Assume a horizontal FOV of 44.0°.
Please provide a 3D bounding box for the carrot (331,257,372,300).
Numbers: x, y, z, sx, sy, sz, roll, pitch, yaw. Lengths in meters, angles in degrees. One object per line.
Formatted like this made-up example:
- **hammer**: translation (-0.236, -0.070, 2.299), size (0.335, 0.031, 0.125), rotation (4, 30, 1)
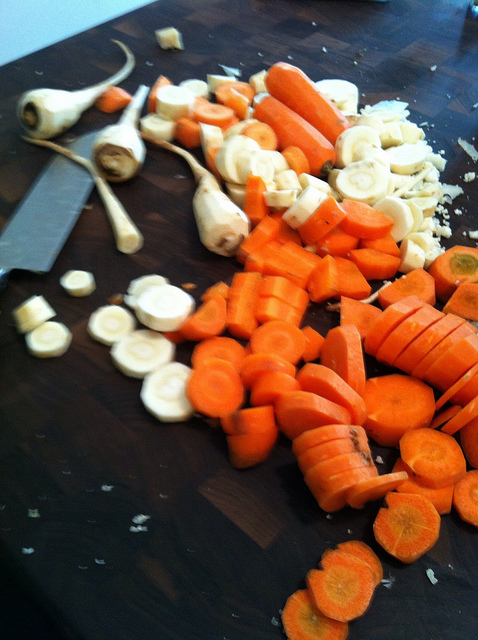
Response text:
- **carrot**: translation (0.306, -0.110, 1.641), size (0.130, 0.030, 0.125), rotation (2, 50, -14)

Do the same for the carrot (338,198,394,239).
- **carrot**: translation (0.356, -0.288, 1.699), size (0.147, 0.031, 0.147), rotation (10, 36, -5)

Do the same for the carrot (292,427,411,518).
- **carrot**: translation (0.220, 0.301, 1.235), size (0.204, 0.124, 0.232), rotation (-13, 16, -16)

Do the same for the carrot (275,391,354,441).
- **carrot**: translation (0.178, 0.216, 1.327), size (0.199, 0.161, 0.040), rotation (18, 66, -15)

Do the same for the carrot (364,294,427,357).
- **carrot**: translation (0.353, 0.002, 1.481), size (0.046, 0.148, 0.147), rotation (42, 34, 12)

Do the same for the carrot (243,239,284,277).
- **carrot**: translation (0.068, -0.171, 1.629), size (0.087, 0.037, 0.148), rotation (30, 54, 21)

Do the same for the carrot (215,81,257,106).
- **carrot**: translation (-0.016, -0.796, 2.063), size (0.128, 0.031, 0.123), rotation (-32, 61, -29)

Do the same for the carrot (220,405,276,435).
- **carrot**: translation (0.010, 0.212, 1.300), size (0.082, 0.078, 0.025), rotation (-3, 83, -37)

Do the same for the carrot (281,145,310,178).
- **carrot**: translation (0.172, -0.478, 1.800), size (0.056, 0.101, 0.101), rotation (-43, 73, -4)

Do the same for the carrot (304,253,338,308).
- **carrot**: translation (0.223, -0.103, 1.594), size (0.036, 0.126, 0.117), rotation (20, 40, -39)

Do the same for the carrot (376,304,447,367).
- **carrot**: translation (0.416, 0.039, 1.422), size (0.155, 0.152, 0.055), rotation (-40, 78, -2)

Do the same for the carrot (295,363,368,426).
- **carrot**: translation (0.259, 0.170, 1.369), size (0.212, 0.183, 0.046), rotation (15, 92, 23)

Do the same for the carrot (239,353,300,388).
- **carrot**: translation (0.067, 0.116, 1.358), size (0.107, 0.091, 0.038), rotation (-8, 51, 28)

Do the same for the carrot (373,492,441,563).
- **carrot**: translation (0.348, 0.416, 1.241), size (0.173, 0.035, 0.132), rotation (7, 49, -14)

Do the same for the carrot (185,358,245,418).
- **carrot**: translation (-0.065, 0.156, 1.380), size (0.135, 0.037, 0.147), rotation (52, 50, -4)

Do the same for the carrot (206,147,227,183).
- **carrot**: translation (-0.083, -0.478, 1.848), size (0.031, 0.108, 0.092), rotation (-11, 96, 14)

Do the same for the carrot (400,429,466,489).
- **carrot**: translation (0.439, 0.287, 1.319), size (0.038, 0.138, 0.122), rotation (-11, 85, -52)

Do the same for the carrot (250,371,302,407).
- **carrot**: translation (0.089, 0.162, 1.338), size (0.095, 0.091, 0.054), rotation (31, 36, -16)

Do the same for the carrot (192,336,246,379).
- **carrot**: translation (-0.049, 0.101, 1.463), size (0.163, 0.038, 0.151), rotation (17, 29, -9)

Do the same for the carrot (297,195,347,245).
- **carrot**: translation (0.224, -0.268, 1.651), size (0.036, 0.124, 0.136), rotation (48, 43, 1)

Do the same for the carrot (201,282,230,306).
- **carrot**: translation (-0.057, -0.076, 1.566), size (0.070, 0.018, 0.063), rotation (6, 55, 44)

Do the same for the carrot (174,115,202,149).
- **carrot**: translation (-0.176, -0.618, 1.952), size (0.073, 0.087, 0.113), rotation (-14, 52, -12)

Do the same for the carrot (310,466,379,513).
- **carrot**: translation (0.212, 0.342, 1.228), size (0.120, 0.104, 0.026), rotation (5, 44, -41)

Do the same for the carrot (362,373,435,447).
- **carrot**: translation (0.381, 0.227, 1.452), size (0.164, 0.097, 0.154), rotation (25, 59, 19)

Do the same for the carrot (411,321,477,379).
- **carrot**: translation (0.486, 0.068, 1.420), size (0.142, 0.146, 0.038), rotation (-39, 78, -4)

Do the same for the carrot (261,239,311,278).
- **carrot**: translation (0.125, -0.165, 1.631), size (0.072, 0.030, 0.142), rotation (30, 55, 22)

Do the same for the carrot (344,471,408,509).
- **carrot**: translation (0.268, 0.346, 1.211), size (0.112, 0.105, 0.024), rotation (-4, 64, -46)

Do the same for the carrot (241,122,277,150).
- **carrot**: translation (0.071, -0.575, 1.848), size (0.107, 0.030, 0.096), rotation (18, 61, -26)

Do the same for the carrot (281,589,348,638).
- **carrot**: translation (0.144, 0.565, 1.133), size (0.125, 0.017, 0.087), rotation (6, 49, 4)

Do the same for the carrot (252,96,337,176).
- **carrot**: translation (0.178, -0.586, 1.915), size (0.356, 0.130, 0.133), rotation (45, 99, 11)
